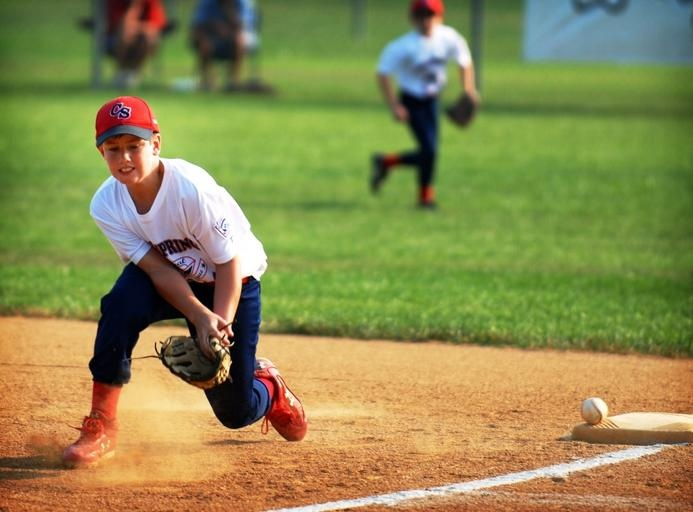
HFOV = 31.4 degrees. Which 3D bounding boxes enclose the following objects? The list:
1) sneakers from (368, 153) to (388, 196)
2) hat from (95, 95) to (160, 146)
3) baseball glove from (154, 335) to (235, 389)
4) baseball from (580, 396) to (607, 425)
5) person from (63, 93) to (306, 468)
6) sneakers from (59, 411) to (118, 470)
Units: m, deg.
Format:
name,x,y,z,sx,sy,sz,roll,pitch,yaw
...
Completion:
name,x,y,z,sx,sy,sz,roll,pitch,yaw
sneakers,0.306,-0.814,11.993,0.141,0.418,0.164,19,47,9
hat,-1.292,-0.788,7.188,0.372,0.283,0.499,-6,14,1
baseball glove,-0.954,0.606,7.183,0.441,0.184,0.326,18,40,-1
baseball,1.505,0.951,7.638,0.157,0.155,0.156,-6,-14,31
person,-0.996,0.147,7.271,1.320,2.107,0.588,0,19,-2
sneakers,-1.536,1.098,7.402,0.210,0.249,0.605,-1,2,11
